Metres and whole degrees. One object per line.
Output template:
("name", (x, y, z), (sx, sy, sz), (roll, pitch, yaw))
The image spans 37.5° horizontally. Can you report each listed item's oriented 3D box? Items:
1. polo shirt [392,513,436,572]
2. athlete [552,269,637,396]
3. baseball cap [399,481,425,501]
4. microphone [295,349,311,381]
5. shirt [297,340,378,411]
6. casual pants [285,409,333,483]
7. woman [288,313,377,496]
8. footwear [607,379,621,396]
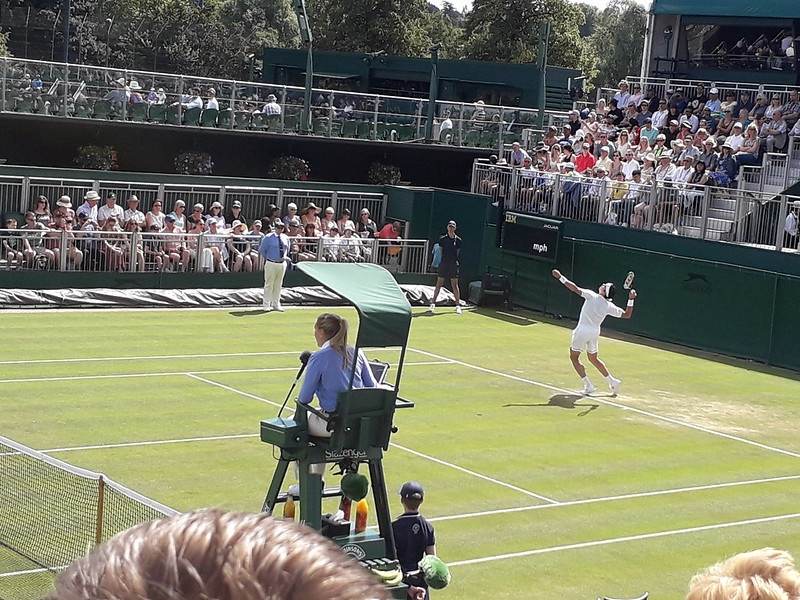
("polo shirt", (0.164, 3.306, 15.935), (0.693, 0.884, 0.294), (1, 11, -19))
("athlete", (4.897, 0.840, 29.039), (2.216, 2.709, 0.936), (14, 10, 7))
("baseball cap", (0.155, 2.563, 15.824), (0.306, 0.255, 0.320), (4, 6, 0))
("microphone", (-1.325, 0.922, 16.129), (0.137, 0.430, 0.240), (20, 10, 21))
("shirt", (-0.834, 1.063, 16.361), (1.273, 1.036, 0.692), (-3, 7, -27))
("casual pants", (-1.117, 1.963, 15.856), (0.797, 1.184, 0.815), (4, -1, -2))
("woman", (-1.041, 1.284, 16.774), (1.099, 2.425, 1.230), (-13, 20, -38))
("footwear", (4.724, 1.918, 25.967), (0.229, 0.192, 0.561), (4, -39, 15))
